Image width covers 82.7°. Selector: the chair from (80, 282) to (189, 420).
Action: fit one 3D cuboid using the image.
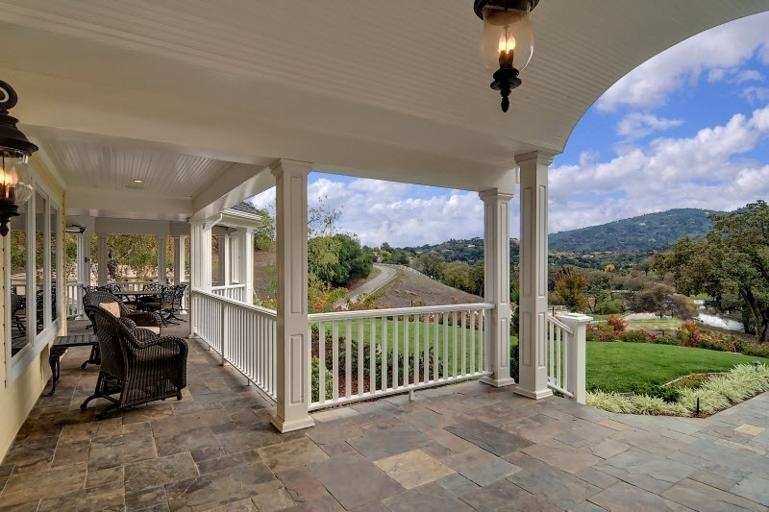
[{"bbox_3d":[-3.178,1.286,5.541,1.251,1.327,0.701,-2,10,-9],"label":"chair"}]
